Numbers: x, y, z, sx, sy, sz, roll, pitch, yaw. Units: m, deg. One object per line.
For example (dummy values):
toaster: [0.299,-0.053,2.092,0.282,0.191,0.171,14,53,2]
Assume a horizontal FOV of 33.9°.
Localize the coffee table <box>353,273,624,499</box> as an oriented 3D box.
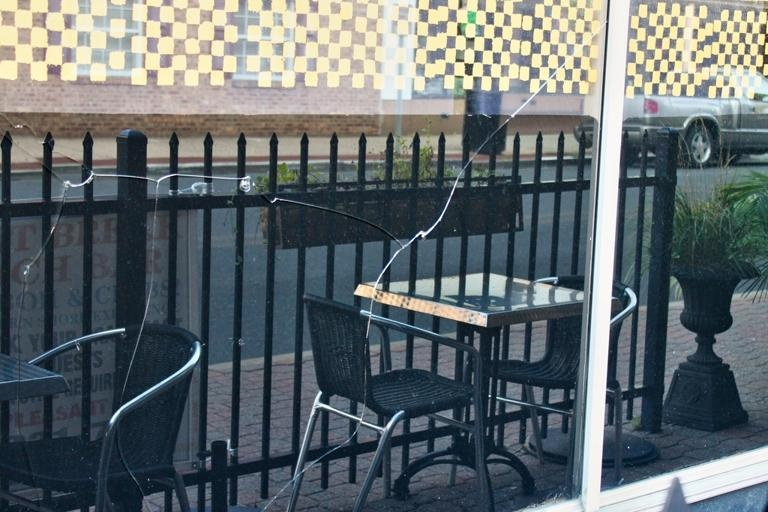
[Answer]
coffee table: [0.465,0.351,5.159,0.928,0.887,0.908,-12,18,-38]
